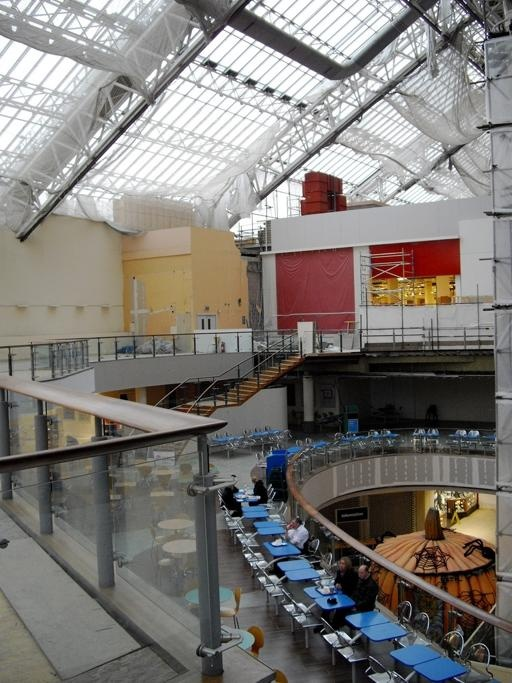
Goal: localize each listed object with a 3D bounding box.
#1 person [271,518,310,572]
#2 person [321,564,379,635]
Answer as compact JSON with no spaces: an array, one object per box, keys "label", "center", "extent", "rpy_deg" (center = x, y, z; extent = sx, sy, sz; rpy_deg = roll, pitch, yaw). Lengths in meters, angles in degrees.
[{"label":"person","center":[0.599,3.491,9.724],"extent":[0.812,0.788,0.733],"rpy_deg":[-2,-2,-19]},{"label":"person","center":[1.212,3.264,7.395],"extent":[0.635,0.892,1.051],"rpy_deg":[-3,-2,-4]}]
